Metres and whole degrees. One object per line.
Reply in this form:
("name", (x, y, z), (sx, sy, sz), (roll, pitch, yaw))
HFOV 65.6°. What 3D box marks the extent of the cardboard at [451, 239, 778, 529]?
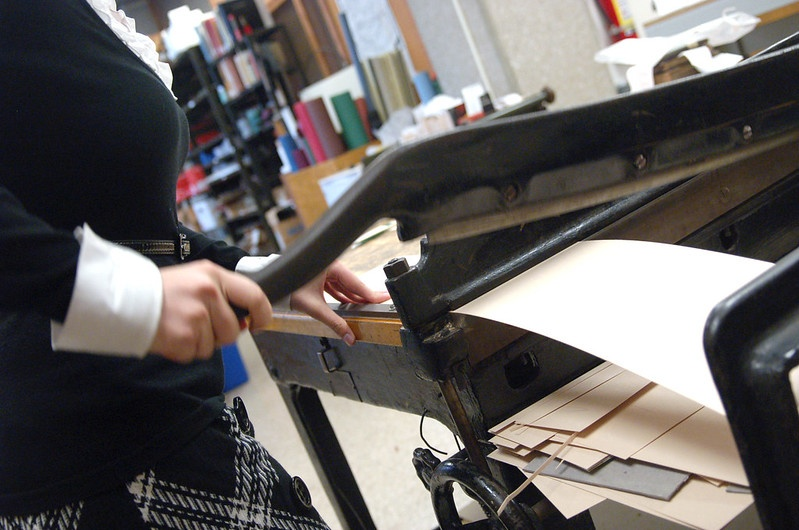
("cardboard", (0.255, 0.136, 0.734), (0.231, 0.065, 0.269), (21, 36, 30))
